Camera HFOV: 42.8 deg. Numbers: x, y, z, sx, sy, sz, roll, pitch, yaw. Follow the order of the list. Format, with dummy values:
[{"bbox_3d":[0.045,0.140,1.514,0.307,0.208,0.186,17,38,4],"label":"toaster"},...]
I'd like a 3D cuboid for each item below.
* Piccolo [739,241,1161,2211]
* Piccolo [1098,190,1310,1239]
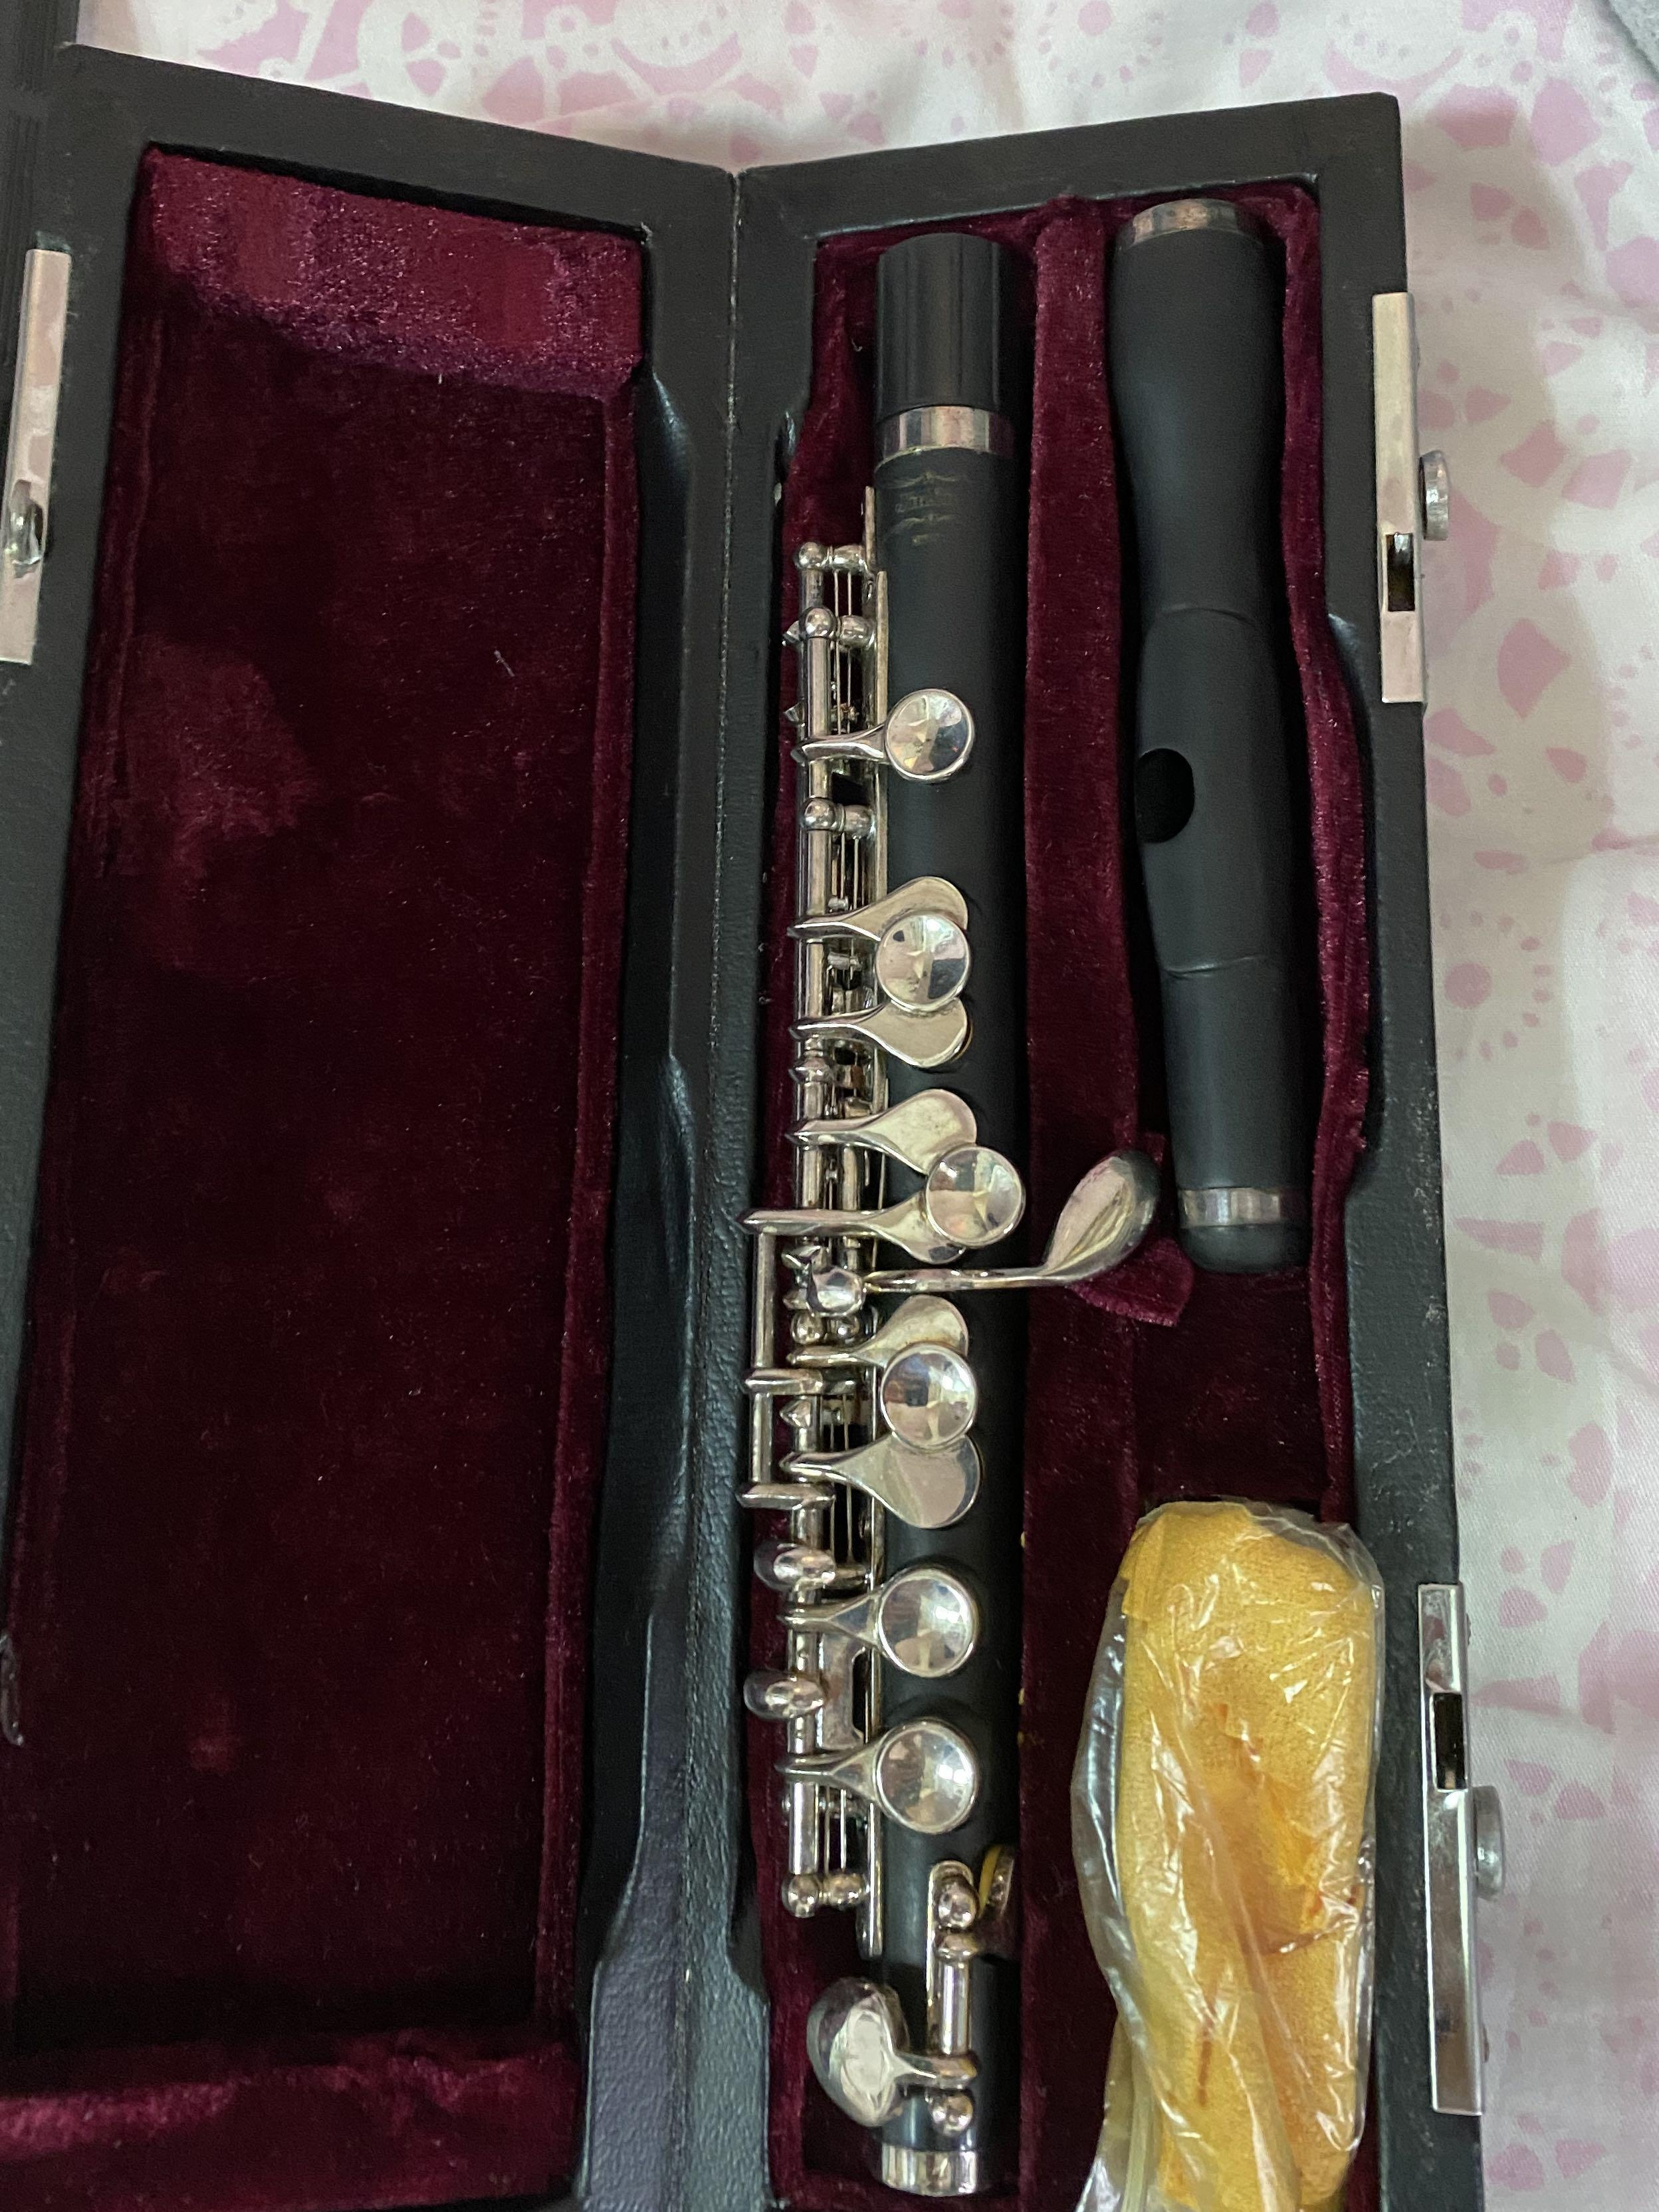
[{"bbox_3d":[0.047,0.053,1.208,0.259,0.219,0.992,0,85,-4],"label":"Piccolo"},{"bbox_3d":[0.204,-0.210,1.179,0.101,0.094,0.526,-4,85,34],"label":"Piccolo"}]
